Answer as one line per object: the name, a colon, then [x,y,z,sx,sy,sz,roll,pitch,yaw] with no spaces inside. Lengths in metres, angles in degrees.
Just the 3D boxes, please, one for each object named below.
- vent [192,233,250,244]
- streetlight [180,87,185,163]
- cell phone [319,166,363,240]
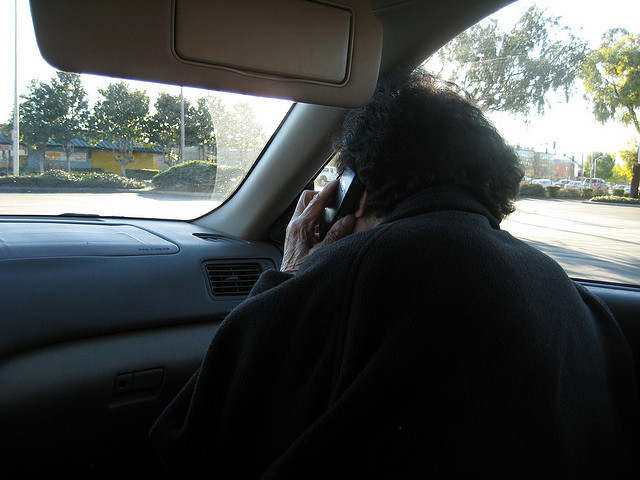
vent: [-0.561,-0.008,2.800,0.308,0.019,0.177,1,12,-21]
streetlight: [-0.732,-0.582,2.621,0.027,0.368,0.392,1,10,-15]
cell phone: [0.067,-0.127,1.552,0.040,0.185,0.171,20,-30,-1]
